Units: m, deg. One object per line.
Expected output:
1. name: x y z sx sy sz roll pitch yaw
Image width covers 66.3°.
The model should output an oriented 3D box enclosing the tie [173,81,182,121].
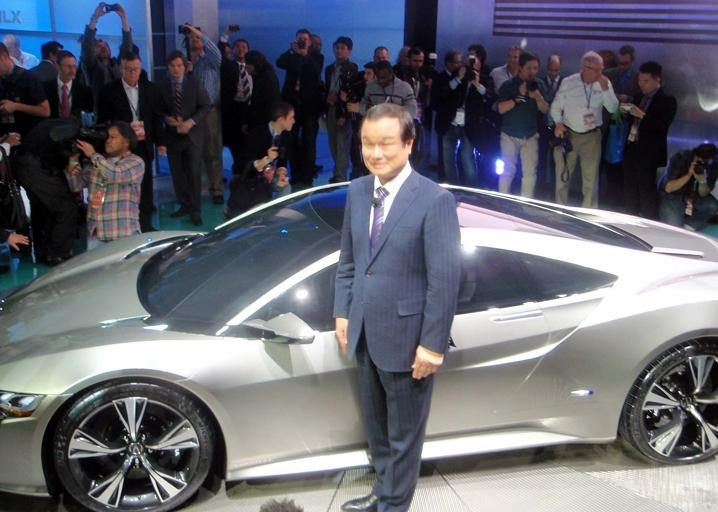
1. tie: -2.487 -2.159 7.540 0.090 0.445 0.115 -1 16 -4

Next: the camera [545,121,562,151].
1. camera: 2.922 -1.833 8.399 0.135 0.390 0.285 5 -9 -41

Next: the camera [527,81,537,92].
1. camera: 2.505 -2.458 7.990 0.130 0.137 0.129 -4 -15 1

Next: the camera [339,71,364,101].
1. camera: -0.110 -2.909 9.340 0.394 0.577 0.243 -1 -13 35

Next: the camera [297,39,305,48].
1. camera: -1.057 -3.767 9.787 0.126 0.138 0.137 -26 61 -24

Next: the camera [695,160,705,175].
1. camera: 4.110 -1.066 6.606 0.095 0.166 0.064 8 18 26

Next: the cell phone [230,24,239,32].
1. cell phone: -2.155 -3.914 9.415 0.167 0.172 0.040 1 32 -12

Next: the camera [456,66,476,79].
1. camera: 1.670 -2.842 8.511 0.201 0.201 0.475 -1 16 -5

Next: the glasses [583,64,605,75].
1. glasses: 3.176 -2.532 7.444 0.138 0.068 0.184 -4 26 -16
